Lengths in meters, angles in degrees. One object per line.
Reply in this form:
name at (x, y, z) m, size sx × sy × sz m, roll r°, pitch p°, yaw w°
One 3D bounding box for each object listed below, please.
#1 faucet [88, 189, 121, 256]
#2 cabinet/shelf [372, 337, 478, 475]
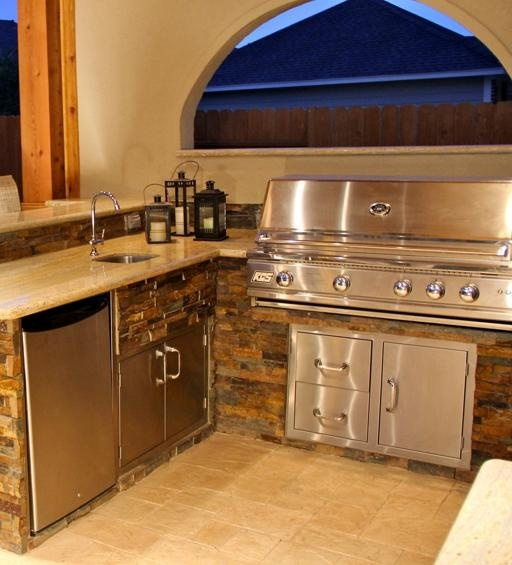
faucet at (-0.870, -0.340, 2.772) m, size 0.242 × 0.358 × 0.133 m, roll 0°, pitch 3°, yaw 25°
cabinet/shelf at (0.987, 0.605, 2.789) m, size 0.705 × 0.857 × 0.628 m, roll 3°, pitch 5°, yaw 29°
